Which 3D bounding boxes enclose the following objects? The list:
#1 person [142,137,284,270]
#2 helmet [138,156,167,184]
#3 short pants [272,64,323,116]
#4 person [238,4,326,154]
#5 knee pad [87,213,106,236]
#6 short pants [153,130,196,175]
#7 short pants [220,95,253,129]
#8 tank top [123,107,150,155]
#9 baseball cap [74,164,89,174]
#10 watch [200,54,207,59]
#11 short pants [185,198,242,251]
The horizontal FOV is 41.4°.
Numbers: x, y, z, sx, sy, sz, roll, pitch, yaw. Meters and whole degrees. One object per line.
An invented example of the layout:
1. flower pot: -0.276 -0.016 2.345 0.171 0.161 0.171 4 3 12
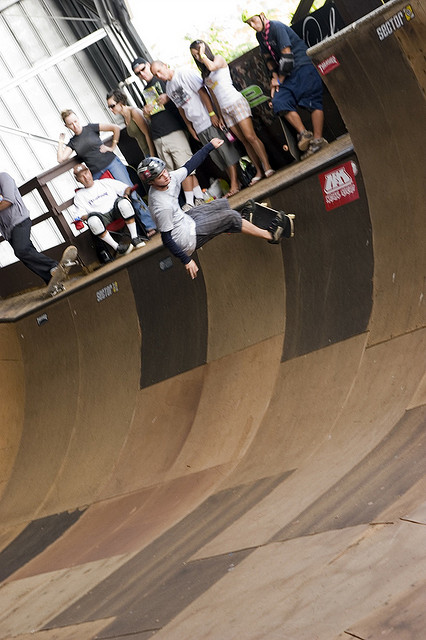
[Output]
1. person: 0.041 -1.220 5.810 1.183 0.912 1.382 -25 -25 6
2. helmet: -0.516 -1.275 4.733 0.199 0.173 0.214 -27 14 3
3. short pants: 0.913 -2.509 6.227 0.563 0.429 0.267 -10 -8 35
4. person: 0.787 -2.635 6.176 0.595 1.651 0.675 -17 18 39
5. knee pad: -1.554 -1.264 7.488 0.217 0.296 0.089 -22 7 8
6. short pants: -0.503 -2.164 7.455 0.475 0.471 0.270 -17 18 39
7. short pants: 0.255 -2.416 6.562 0.357 0.331 0.239 -34 -17 34
8. tank top: -1.062 -2.613 7.955 0.210 0.530 0.656 -31 14 -9
9. baseball cap: -1.764 -2.002 7.443 0.164 0.106 0.170 -28 14 0
10. watch: -0.106 -2.957 6.322 0.048 0.036 0.067 -1 -6 -7
11. short pants: 0.066 -0.869 5.181 0.478 0.431 0.132 -20 -33 21
